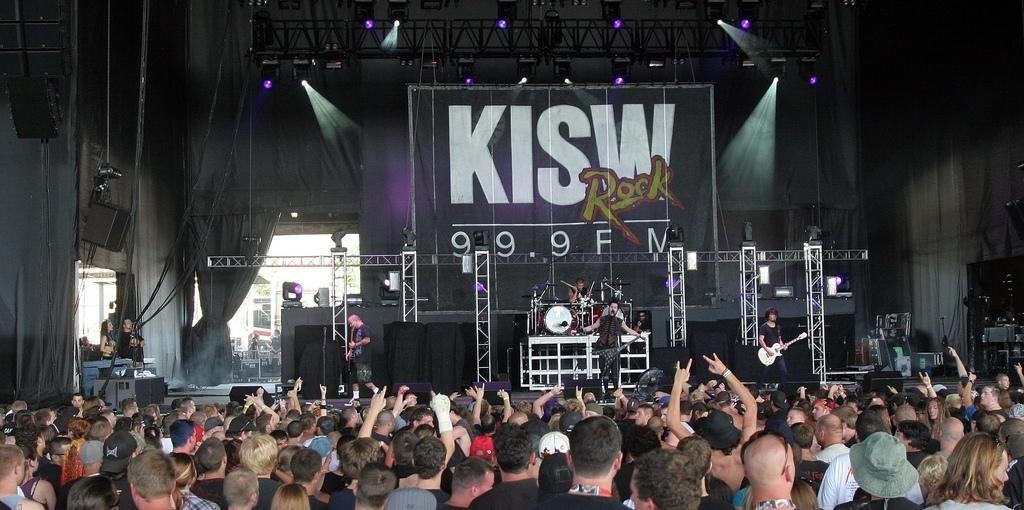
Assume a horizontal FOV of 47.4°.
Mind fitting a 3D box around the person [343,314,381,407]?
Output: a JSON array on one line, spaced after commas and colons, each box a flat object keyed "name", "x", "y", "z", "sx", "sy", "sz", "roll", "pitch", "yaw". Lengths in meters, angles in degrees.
[{"name": "person", "x": -4.373, "y": 2.959, "z": 33.961, "sx": 0.904, "sy": 2.417, "sz": 1.138, "roll": 2, "pitch": 0, "yaw": 7}]

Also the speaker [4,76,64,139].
[{"name": "speaker", "x": -13.140, "y": -4.095, "z": 32.111, "sx": 1.223, "sy": 1.536, "sz": 0.882, "roll": 0, "pitch": -11, "yaw": -9}]

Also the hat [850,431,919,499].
[{"name": "hat", "x": 7.430, "y": 4.239, "z": 23.434, "sx": 1.337, "sy": 1.286, "sz": 0.456, "roll": -7, "pitch": -28, "yaw": 7}]

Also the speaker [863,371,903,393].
[{"name": "speaker", "x": 10.044, "y": 3.410, "z": 31.568, "sx": 1.031, "sy": 0.564, "sz": 0.666, "roll": 0, "pitch": -1, "yaw": -7}]

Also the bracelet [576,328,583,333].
[{"name": "bracelet", "x": 1.980, "y": 2.236, "z": 34.603, "sx": 0.161, "sy": 0.138, "sz": 0.044, "roll": 1, "pitch": -2, "yaw": 6}]

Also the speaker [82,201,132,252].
[{"name": "speaker", "x": -11.598, "y": -0.818, "z": 33.364, "sx": 0.926, "sy": 1.124, "sz": 1.228, "roll": 16, "pitch": -18, "yaw": 3}]
